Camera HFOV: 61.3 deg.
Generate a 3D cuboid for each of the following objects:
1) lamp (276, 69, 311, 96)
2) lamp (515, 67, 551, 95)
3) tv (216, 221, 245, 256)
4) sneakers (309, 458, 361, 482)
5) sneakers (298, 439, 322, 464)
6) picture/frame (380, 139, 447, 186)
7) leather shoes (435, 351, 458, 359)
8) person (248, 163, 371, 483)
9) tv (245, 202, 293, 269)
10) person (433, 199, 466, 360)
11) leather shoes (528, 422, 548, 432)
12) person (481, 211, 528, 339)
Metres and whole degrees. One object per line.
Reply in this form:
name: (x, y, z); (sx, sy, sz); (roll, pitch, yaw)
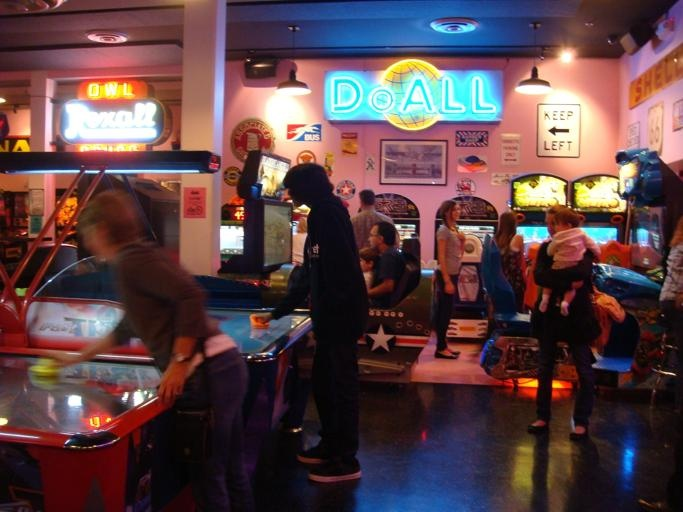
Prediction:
lamp: (-0.587, -2.314, 7.528); (0.390, 0.350, 0.491); (3, 7, 17)
lamp: (2.412, -2.229, 7.199); (0.351, 0.328, 0.294); (-4, 8, -35)
tv: (-1.339, -0.201, 6.983); (0.404, 0.406, 0.303); (-4, -16, -4)
sneakers: (-0.025, 1.331, 3.593); (0.331, 0.137, 0.121); (2, -4, -10)
sneakers: (-0.177, 1.314, 3.800); (0.197, 0.079, 0.083); (4, -5, 0)
picture/frame: (1.107, -1.397, 8.424); (0.719, 0.467, 0.021); (1, 0, 2)
leather shoes: (1.134, 1.067, 6.204); (0.176, 0.064, 0.096); (-3, -4, 9)
person: (-0.130, 0.399, 3.592); (0.594, 1.943, 0.421); (2, 7, 8)
tv: (-0.566, -0.166, 4.415); (0.186, 0.460, 0.548); (0, -3, 16)
person: (1.231, 0.233, 6.587); (0.308, 1.733, 1.073); (2, 7, 11)
leather shoes: (1.443, 1.262, 4.217); (0.169, 0.063, 0.059); (6, -4, -17)
person: (1.879, 0.308, 6.566); (0.476, 1.614, 0.446); (9, 15, 30)
